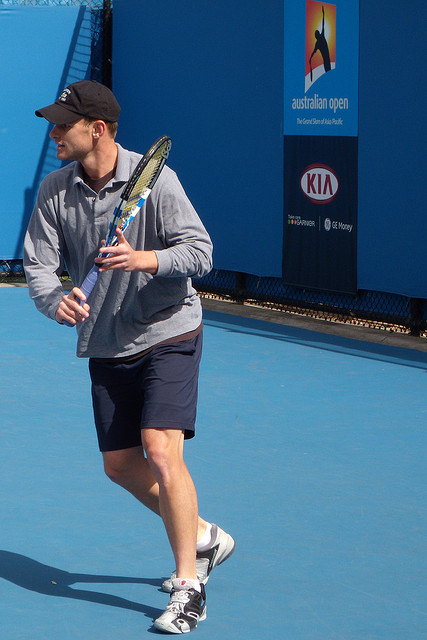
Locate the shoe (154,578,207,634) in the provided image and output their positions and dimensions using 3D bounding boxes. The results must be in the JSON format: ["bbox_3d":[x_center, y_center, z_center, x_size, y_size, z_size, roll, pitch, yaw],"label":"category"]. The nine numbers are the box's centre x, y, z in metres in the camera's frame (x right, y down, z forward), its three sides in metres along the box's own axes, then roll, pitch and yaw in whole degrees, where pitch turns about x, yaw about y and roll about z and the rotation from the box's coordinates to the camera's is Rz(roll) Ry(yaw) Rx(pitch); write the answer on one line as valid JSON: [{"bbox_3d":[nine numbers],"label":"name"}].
[{"bbox_3d":[-0.080,0.865,2.198,0.096,0.123,0.221,1,1,17],"label":"shoe"}]

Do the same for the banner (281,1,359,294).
[{"bbox_3d":[1.087,-1.844,7.405,0.287,3.065,1.171,-5,10,-24],"label":"banner"}]
